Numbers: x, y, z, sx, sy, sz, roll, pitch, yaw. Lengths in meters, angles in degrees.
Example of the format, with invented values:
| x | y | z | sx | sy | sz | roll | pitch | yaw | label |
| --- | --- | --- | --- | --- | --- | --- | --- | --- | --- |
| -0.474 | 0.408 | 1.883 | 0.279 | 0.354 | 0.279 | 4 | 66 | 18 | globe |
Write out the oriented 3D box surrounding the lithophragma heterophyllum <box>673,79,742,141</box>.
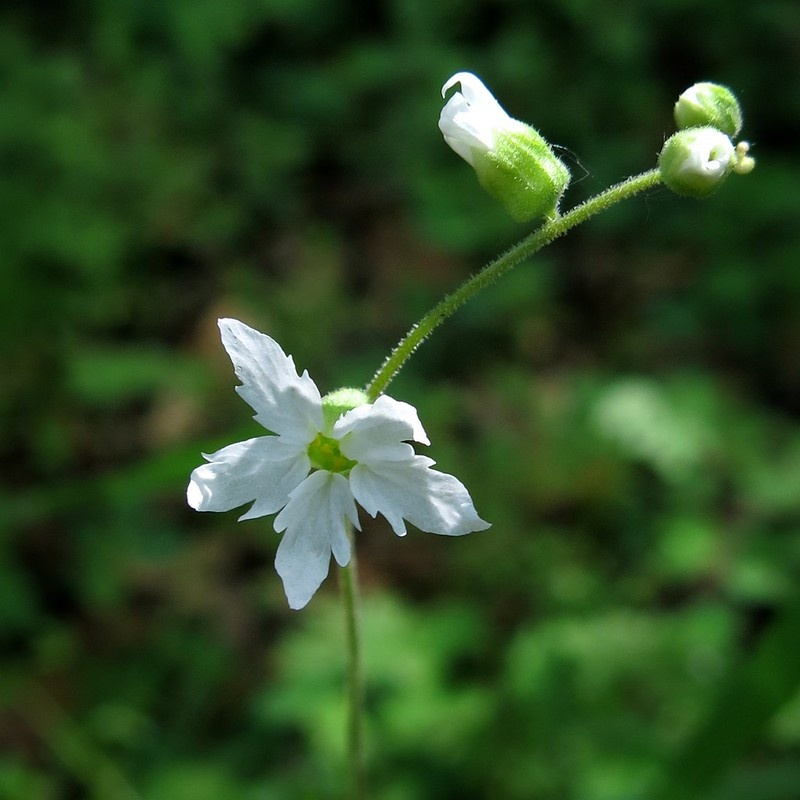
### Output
| x | y | z | sx | sy | sz | roll | pitch | yaw | label |
| --- | --- | --- | --- | --- | --- | --- | --- | --- | --- |
| 0.675 | -0.643 | 2.293 | 0.155 | 0.084 | 0.110 | 23 | -95 | 8 | lithophragma heterophyllum |
